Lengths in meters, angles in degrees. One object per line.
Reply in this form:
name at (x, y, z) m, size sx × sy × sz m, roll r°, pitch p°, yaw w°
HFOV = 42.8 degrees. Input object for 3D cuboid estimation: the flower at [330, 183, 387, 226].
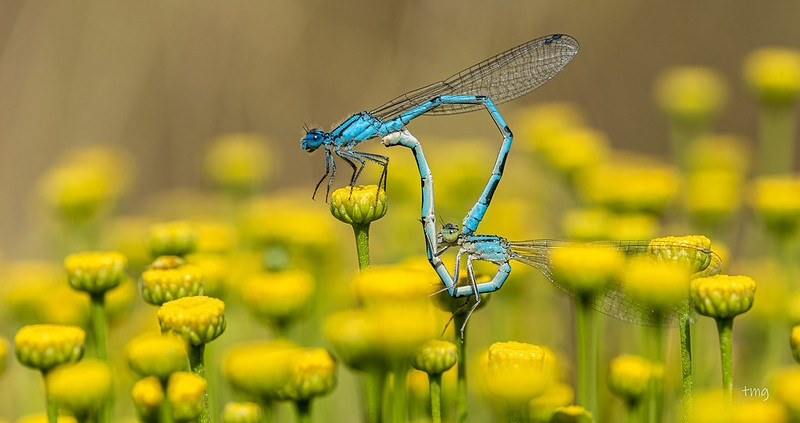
flower at (-0.091, -0.014, 2.076) m, size 0.118 × 0.066 × 0.110 m, roll 8°, pitch 14°, yaw 20°

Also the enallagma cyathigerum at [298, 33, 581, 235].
enallagma cyathigerum at (0.093, -0.202, 2.333) m, size 0.663 × 0.228 × 0.243 m, roll -15°, pitch 2°, yaw 16°

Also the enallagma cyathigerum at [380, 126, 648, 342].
enallagma cyathigerum at (0.303, 0.056, 2.148) m, size 0.699 × 0.428 × 0.286 m, roll 9°, pitch -3°, yaw -16°
